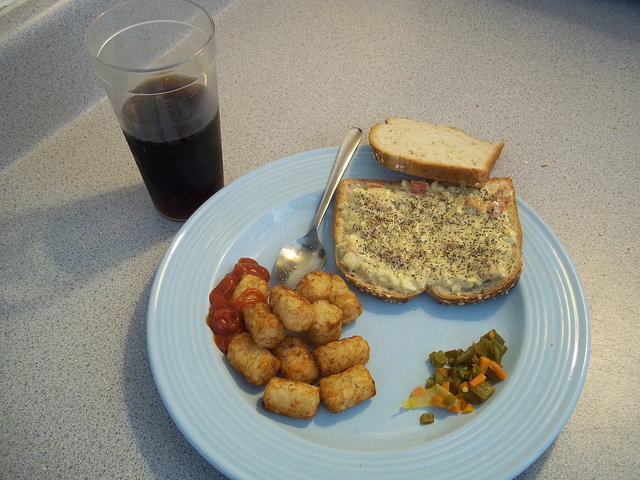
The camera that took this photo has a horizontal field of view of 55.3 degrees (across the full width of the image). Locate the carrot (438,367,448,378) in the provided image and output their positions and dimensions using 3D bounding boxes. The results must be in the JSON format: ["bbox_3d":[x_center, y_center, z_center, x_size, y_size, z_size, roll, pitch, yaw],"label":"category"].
[{"bbox_3d":[0.601,0.647,2.963,0.041,0.011,0.041,39,35,-24],"label":"carrot"}]

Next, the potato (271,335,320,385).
[{"bbox_3d":[-0.105,0.565,2.896,0.148,0.116,0.263,-11,38,-20],"label":"potato"}]

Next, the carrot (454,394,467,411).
[{"bbox_3d":[0.673,0.772,2.896,0.045,0.014,0.055,0,71,-10],"label":"carrot"}]

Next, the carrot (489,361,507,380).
[{"bbox_3d":[0.845,0.626,2.915,0.046,0.031,0.099,-37,91,-29],"label":"carrot"}]

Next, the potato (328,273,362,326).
[{"bbox_3d":[0.117,0.301,3.080,0.129,0.095,0.246,-23,67,-13],"label":"potato"}]

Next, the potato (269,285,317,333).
[{"bbox_3d":[-0.139,0.330,3.002,0.222,0.147,0.301,6,18,-48],"label":"potato"}]

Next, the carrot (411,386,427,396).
[{"bbox_3d":[0.468,0.731,2.924,0.071,0.019,0.034,-28,64,-15],"label":"carrot"}]

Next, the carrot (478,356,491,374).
[{"bbox_3d":[0.787,0.608,2.935,0.041,0.089,0.047,16,22,34],"label":"carrot"}]

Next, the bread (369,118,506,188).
[{"bbox_3d":[0.657,-0.516,3.514,0.638,0.129,0.437,19,47,16],"label":"bread"}]

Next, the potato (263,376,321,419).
[{"bbox_3d":[-0.134,0.721,2.850,0.242,0.175,0.183,11,32,2],"label":"potato"}]

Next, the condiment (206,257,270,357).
[{"bbox_3d":[-0.428,0.323,3.090,0.255,0.097,0.457,1,67,22],"label":"condiment"}]

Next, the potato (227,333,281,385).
[{"bbox_3d":[-0.306,0.539,2.896,0.232,0.185,0.192,27,51,30],"label":"potato"}]

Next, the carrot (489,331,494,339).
[{"bbox_3d":[0.842,0.469,3.000,0.016,0.007,0.030,0,40,22],"label":"carrot"}]

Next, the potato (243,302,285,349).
[{"bbox_3d":[-0.285,0.394,3.005,0.168,0.131,0.341,-8,25,-24],"label":"potato"}]

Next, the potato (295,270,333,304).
[{"bbox_3d":[-0.026,0.225,3.012,0.131,0.084,0.156,15,58,13],"label":"potato"}]

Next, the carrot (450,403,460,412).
[{"bbox_3d":[0.638,0.791,2.880,0.031,0.035,0.038,3,83,3],"label":"carrot"}]

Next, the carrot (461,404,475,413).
[{"bbox_3d":[0.698,0.797,2.873,0.041,0.031,0.016,-30,74,-8],"label":"carrot"}]

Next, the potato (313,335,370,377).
[{"bbox_3d":[0.106,0.546,2.890,0.245,0.097,0.151,-19,55,-9],"label":"potato"}]
